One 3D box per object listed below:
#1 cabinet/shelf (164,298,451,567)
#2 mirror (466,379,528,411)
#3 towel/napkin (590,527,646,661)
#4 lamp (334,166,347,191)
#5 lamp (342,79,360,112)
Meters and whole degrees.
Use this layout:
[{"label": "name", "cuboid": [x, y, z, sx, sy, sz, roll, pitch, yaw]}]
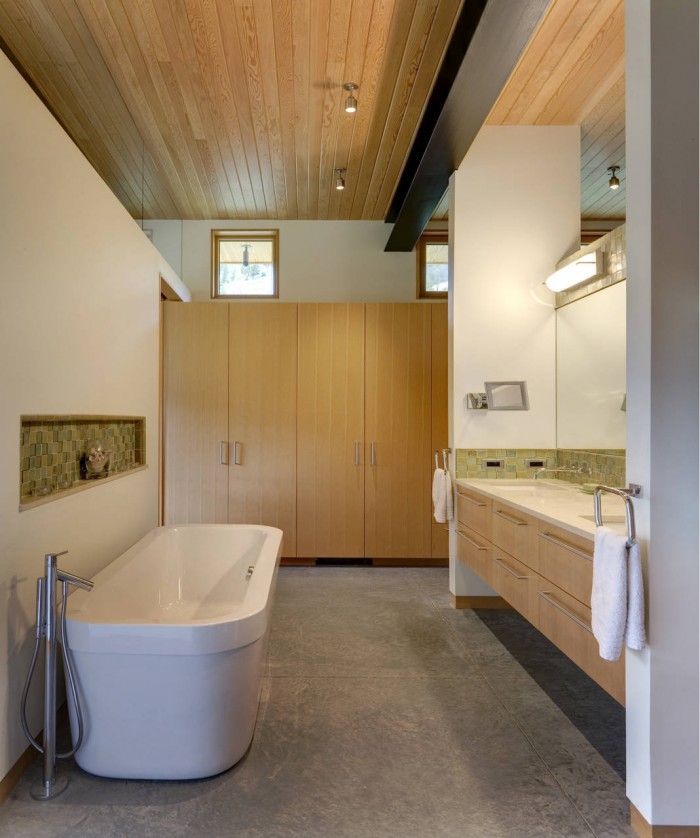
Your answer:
[{"label": "cabinet/shelf", "cuboid": [-0.368, 0.095, 4.565, 1.281, 1.698, 0.507, 0, -2, 0]}, {"label": "mirror", "cuboid": [0.856, -0.127, 3.609, 0.172, 0.161, 0.206, 0, 3, -18]}, {"label": "towel/napkin", "cuboid": [0.777, 0.507, 1.827, 0.092, 0.394, 0.329, 0, -3, 5]}, {"label": "lamp", "cuboid": [-0.064, -1.637, 4.284, 0.082, 0.202, 0.068, 2, 5, 11]}, {"label": "lamp", "cuboid": [0.010, -1.662, 3.238, 0.065, 0.159, 0.079, 0, -3, -5]}]
